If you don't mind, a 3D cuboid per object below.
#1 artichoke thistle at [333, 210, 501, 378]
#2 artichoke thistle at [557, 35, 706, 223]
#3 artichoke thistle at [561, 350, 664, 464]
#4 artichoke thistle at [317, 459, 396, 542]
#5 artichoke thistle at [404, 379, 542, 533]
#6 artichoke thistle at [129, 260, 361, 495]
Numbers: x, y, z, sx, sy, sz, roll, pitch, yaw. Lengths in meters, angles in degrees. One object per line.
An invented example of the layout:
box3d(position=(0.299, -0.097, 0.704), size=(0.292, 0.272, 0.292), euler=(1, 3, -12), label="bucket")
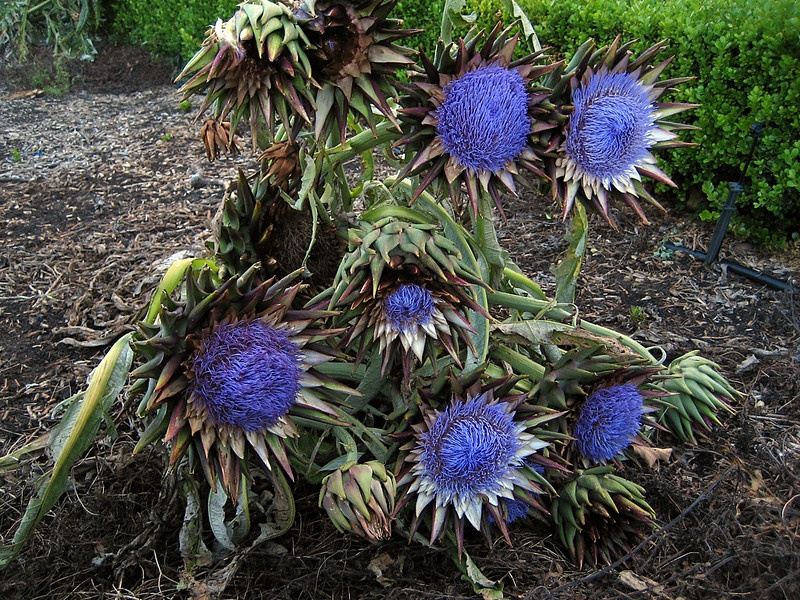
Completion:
box3d(position=(0.048, 0.013, 2.557), size=(0.450, 0.551, 0.334), euler=(-21, -7, 6), label="artichoke thistle")
box3d(position=(0.687, -0.538, 2.345), size=(0.414, 0.467, 0.357), euler=(3, 34, 10), label="artichoke thistle")
box3d(position=(0.770, 0.377, 2.700), size=(0.202, 0.275, 0.359), euler=(-24, 16, 30), label="artichoke thistle")
box3d(position=(-0.121, 0.675, 2.531), size=(0.256, 0.285, 0.235), euler=(-19, -10, 0), label="artichoke thistle")
box3d(position=(0.229, 0.468, 2.546), size=(0.565, 0.250, 0.549), euler=(-19, 9, -28), label="artichoke thistle")
box3d(position=(-0.482, 0.263, 2.342), size=(0.677, 0.717, 0.414), euler=(-8, 34, -5), label="artichoke thistle")
